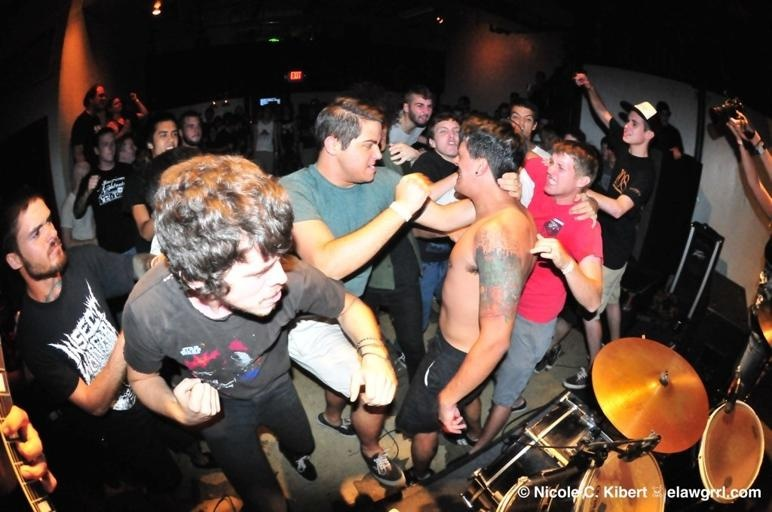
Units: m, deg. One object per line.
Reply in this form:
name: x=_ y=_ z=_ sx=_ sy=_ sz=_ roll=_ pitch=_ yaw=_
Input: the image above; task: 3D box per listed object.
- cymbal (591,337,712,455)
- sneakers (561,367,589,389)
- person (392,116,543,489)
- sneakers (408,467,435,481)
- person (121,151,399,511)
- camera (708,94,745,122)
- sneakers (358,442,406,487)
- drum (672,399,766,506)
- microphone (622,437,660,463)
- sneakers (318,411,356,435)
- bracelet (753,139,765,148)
cymbal: x=1.765 y=0.863 z=3.171 sx=0.704 sy=0.678 sz=0.157 roll=-27 pitch=2 yaw=-17
sneakers: x=1.797 y=1.141 z=4.407 sx=0.316 sy=0.121 sz=0.113 roll=-14 pitch=53 yaw=7
person: x=0.595 y=0.437 z=3.416 sx=0.740 sy=2.536 sz=1.139 roll=10 pitch=28 yaw=18
sneakers: x=0.264 y=1.668 z=3.646 sx=0.205 sy=0.096 sz=0.116 roll=-2 pitch=18 yaw=-5
person: x=-0.788 y=0.557 z=3.090 sx=1.540 sy=2.245 sz=1.111 roll=42 pitch=61 yaw=12
camera: x=3.162 y=-1.356 z=4.377 sx=0.300 sy=0.177 sz=0.270 roll=-22 pitch=22 yaw=-7
sneakers: x=-0.020 y=1.623 z=3.727 sx=0.180 sy=0.152 sz=0.424 roll=-29 pitch=42 yaw=-34
drum: x=2.438 y=1.490 z=3.700 sx=0.682 sy=0.804 sz=0.249 roll=30 pitch=-20 yaw=-20
microphone: x=1.617 y=1.240 z=3.060 sx=0.219 sy=0.088 sz=0.138 roll=-17 pitch=32 yaw=-2
sneakers: x=-0.394 y=1.437 z=4.081 sx=0.338 sy=0.128 sz=0.142 roll=25 pitch=44 yaw=-8
bracelet: x=3.245 y=-0.972 z=4.141 sx=0.049 sy=0.064 sz=0.024 roll=-15 pitch=-9 yaw=36
